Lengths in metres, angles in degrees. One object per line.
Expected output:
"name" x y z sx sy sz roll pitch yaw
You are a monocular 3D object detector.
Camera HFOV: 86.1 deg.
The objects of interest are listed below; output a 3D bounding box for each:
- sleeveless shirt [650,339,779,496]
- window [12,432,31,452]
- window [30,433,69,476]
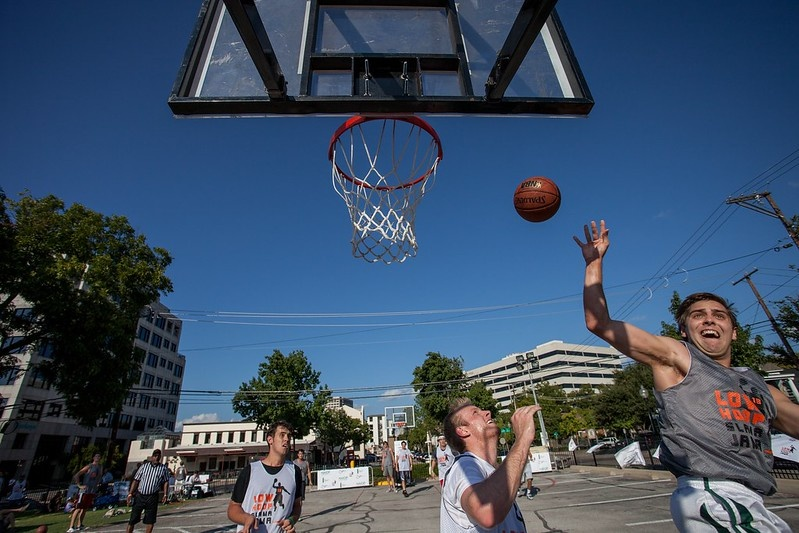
"sleeveless shirt" 3.163 1.514 4.284 1.108 1.425 0.561 -1 -25 -10
"window" -25.946 11.959 29.458 0.201 1.101 1.375 3 -26 -18
"window" -26.996 14.943 33.101 2.346 3.946 2.149 4 0 -35
